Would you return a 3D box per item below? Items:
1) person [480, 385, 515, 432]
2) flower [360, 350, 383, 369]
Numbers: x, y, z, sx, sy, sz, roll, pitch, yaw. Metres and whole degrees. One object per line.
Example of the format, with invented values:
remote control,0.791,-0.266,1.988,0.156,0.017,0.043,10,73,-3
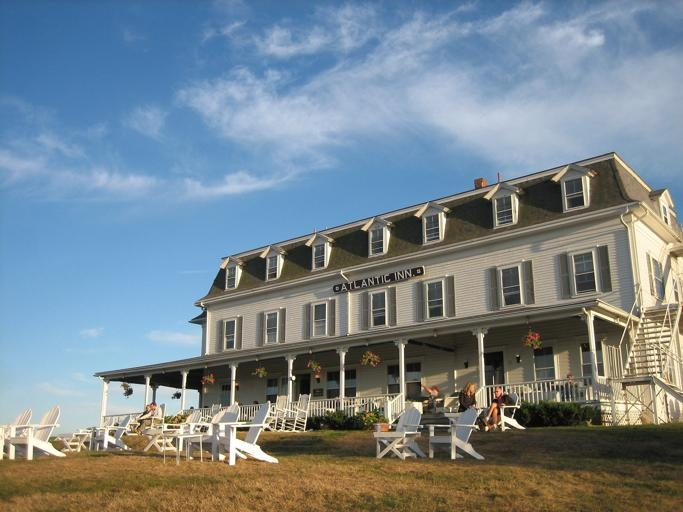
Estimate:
person,5.142,5.073,21.310,1.857,1.261,0.844,-3,-4,-43
flower,1.337,4.846,29.297,1.146,0.712,1.017,1,-7,0
